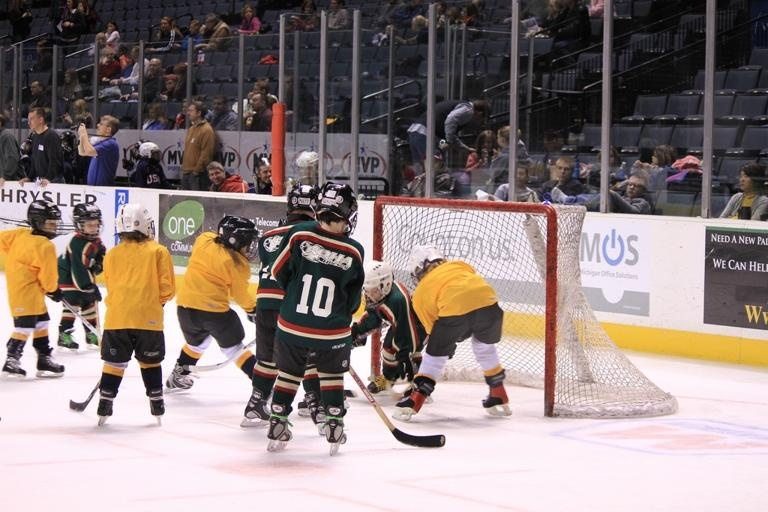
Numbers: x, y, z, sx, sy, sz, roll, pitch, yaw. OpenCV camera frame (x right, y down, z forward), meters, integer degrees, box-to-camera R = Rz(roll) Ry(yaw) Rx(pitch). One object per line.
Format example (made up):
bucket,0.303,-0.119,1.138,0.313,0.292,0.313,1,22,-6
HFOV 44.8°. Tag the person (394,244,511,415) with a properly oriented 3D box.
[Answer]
person,0.532,0.582,7.519,0.959,1.404,0.849,-3,-13,0

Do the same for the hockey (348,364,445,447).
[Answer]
hockey,0.104,1.187,7.310,0.108,0.203,1.137,26,8,-37

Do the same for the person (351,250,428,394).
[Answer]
person,0.067,0.625,7.685,0.644,1.156,0.598,-2,13,22

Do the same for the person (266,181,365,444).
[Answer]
person,-0.475,0.436,6.530,0.641,1.837,0.443,0,11,-1

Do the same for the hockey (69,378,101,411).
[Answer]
hockey,-2.324,1.101,7.266,0.271,0.074,0.272,-44,11,-23

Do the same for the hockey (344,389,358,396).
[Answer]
hockey,-0.288,1.164,7.908,0.078,0.022,0.085,10,5,-14

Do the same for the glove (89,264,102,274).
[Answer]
glove,-2.800,0.122,9.090,0.117,0.086,0.117,3,7,21

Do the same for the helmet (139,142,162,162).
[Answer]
helmet,-2.978,-1.342,11.875,0.237,0.211,0.201,-8,15,1
